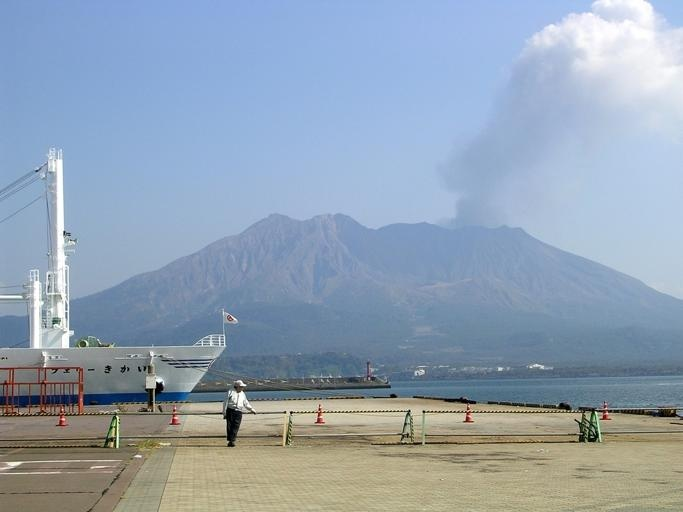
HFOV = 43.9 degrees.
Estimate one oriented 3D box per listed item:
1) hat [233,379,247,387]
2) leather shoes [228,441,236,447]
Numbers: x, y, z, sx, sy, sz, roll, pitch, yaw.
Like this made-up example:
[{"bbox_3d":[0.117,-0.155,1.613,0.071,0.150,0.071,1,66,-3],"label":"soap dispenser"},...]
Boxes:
[{"bbox_3d":[-3.243,4.216,27.975,0.505,0.156,0.309,3,3,-25],"label":"hat"},{"bbox_3d":[-3.526,6.047,27.338,0.167,0.241,0.207,-4,-2,20],"label":"leather shoes"}]
